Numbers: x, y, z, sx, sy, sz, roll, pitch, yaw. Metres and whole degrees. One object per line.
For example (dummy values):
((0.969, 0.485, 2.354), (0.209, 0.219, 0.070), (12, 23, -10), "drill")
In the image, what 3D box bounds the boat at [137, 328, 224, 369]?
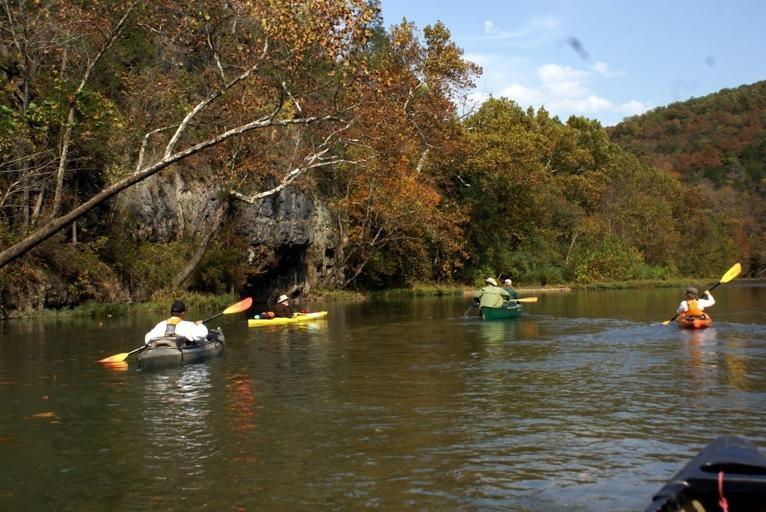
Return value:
((-6.113, 2.906, 23.840), (1.100, 0.938, 3.052), (-3, -4, 20), "boat")

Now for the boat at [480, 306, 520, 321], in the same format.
((5.338, 2.588, 35.118), (0.723, 0.634, 2.387), (-4, -5, 40), "boat")

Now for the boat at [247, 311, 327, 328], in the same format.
((-4.268, 2.888, 34.824), (4.702, 0.728, 1.175), (2, -6, -30), "boat")

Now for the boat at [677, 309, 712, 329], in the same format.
((12.270, 2.535, 30.501), (1.174, 0.643, 0.812), (-3, -4, 17), "boat")
